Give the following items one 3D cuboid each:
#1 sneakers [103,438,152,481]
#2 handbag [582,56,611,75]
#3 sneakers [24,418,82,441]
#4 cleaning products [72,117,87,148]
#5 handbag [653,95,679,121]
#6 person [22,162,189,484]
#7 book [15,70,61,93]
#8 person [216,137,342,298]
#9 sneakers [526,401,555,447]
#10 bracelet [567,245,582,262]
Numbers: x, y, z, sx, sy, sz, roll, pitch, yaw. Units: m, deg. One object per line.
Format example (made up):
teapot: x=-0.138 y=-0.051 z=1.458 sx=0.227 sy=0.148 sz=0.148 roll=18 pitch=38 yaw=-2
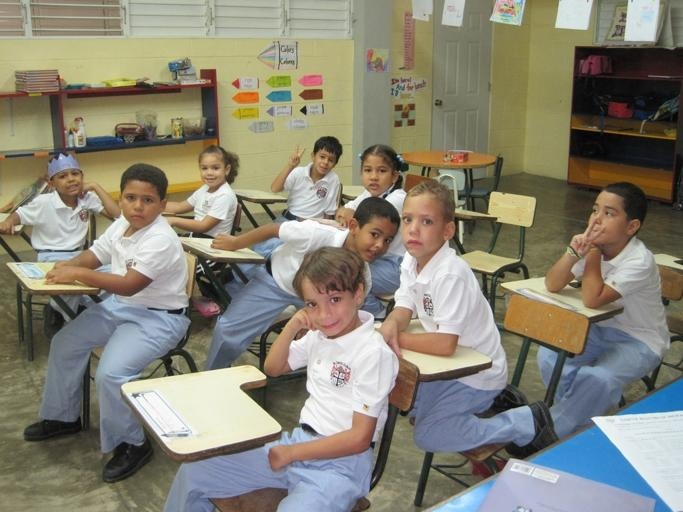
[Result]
sneakers: x=-0.985 y=0.949 z=2.669 sx=0.105 sy=0.098 sz=0.230 roll=28 pitch=36 yaw=26
handbag: x=3.386 y=-2.540 z=7.603 sx=0.279 sy=0.222 sz=0.319 roll=-19 pitch=24 yaw=-37
sneakers: x=-1.460 y=0.856 z=2.910 sx=0.252 sy=0.115 sz=0.101 roll=2 pitch=17 yaw=-22
cleaning products: x=-2.474 y=-1.171 z=5.410 sx=0.113 sy=0.278 sz=0.165 roll=-8 pitch=15 yaw=-20
handbag: x=4.060 y=-1.837 z=7.139 sx=0.292 sy=0.114 sz=0.249 roll=-27 pitch=4 yaw=4
person: x=-1.116 y=0.254 z=2.778 sx=0.797 sy=1.337 sz=0.670 roll=-8 pitch=17 yaw=-37
book: x=-2.717 y=-1.563 z=5.130 sx=0.380 sy=0.203 sz=0.250 roll=-7 pitch=14 yaw=-19
person: x=-0.404 y=-0.350 z=4.673 sx=0.566 sy=1.290 sz=0.789 roll=25 pitch=21 yaw=38
sneakers: x=0.721 y=0.603 z=2.053 sx=0.054 sy=0.139 sz=0.100 roll=-18 pitch=39 yaw=21
bracelet: x=1.077 y=-0.014 z=2.670 sx=0.068 sy=0.024 sz=0.049 roll=47 pitch=24 yaw=13
